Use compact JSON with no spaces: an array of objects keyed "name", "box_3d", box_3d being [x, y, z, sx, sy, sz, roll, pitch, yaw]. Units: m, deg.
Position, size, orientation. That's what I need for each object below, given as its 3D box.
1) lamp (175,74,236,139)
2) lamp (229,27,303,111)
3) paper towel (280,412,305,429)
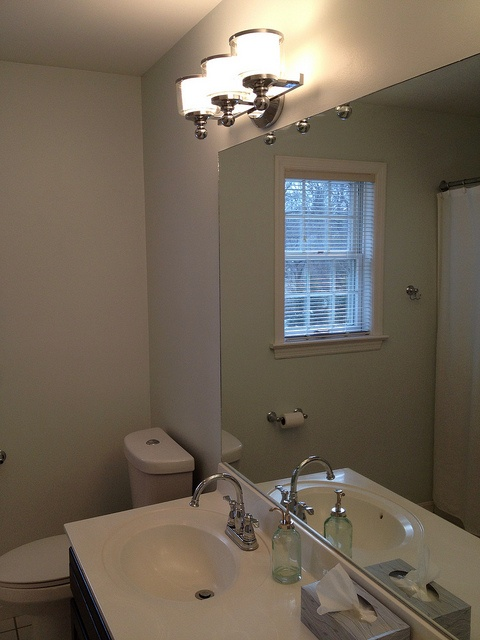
[{"name":"lamp","box_3d":[-0.101,-0.585,1.513,0.135,0.150,0.120,-5,15,-6]},{"name":"lamp","box_3d":[0.045,-0.554,1.225,0.166,0.163,0.115,-3,0,7]},{"name":"paper towel","box_3d":[0.127,0.246,1.309,0.051,0.044,0.026,-9,-28,21]}]
